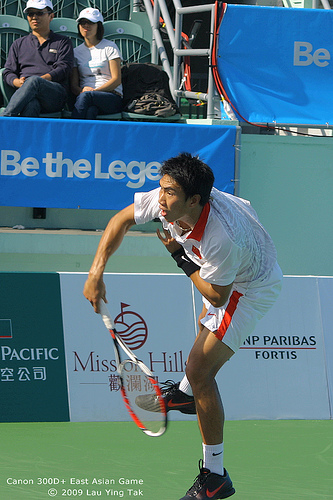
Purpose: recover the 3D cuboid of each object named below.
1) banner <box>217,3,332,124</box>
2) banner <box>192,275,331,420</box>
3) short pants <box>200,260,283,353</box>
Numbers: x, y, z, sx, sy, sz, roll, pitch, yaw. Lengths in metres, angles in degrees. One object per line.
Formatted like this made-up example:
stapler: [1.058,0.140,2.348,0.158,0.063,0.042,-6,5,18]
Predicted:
banner: [1.186,-2.033,5.878,1.409,1.104,0.092,-1,7,-8]
banner: [0.660,0.741,3.749,1.291,1.212,0.052,2,-18,-13]
short pants: [0.488,0.319,2.983,0.575,0.311,0.209,-40,-15,5]
